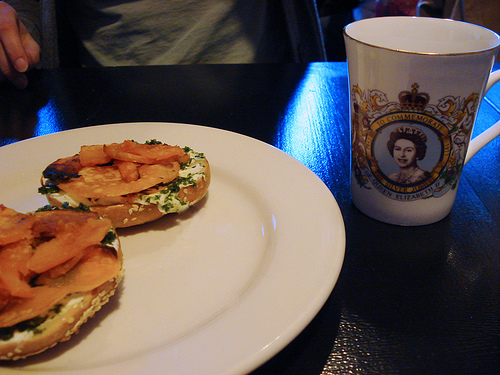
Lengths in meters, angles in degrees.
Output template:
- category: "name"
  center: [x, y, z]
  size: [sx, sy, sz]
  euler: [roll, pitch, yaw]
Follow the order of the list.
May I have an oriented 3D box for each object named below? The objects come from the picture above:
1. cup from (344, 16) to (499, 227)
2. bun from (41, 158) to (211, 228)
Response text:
- category: "cup"
  center: [0.421, -0.156, 1.081]
  size: [0.381, 0.455, 0.354]
  euler: [-5, 39, 4]
- category: "bun"
  center: [-0.315, 0.021, 1.168]
  size: [0.446, 0.091, 0.192]
  euler: [-12, 37, -9]
